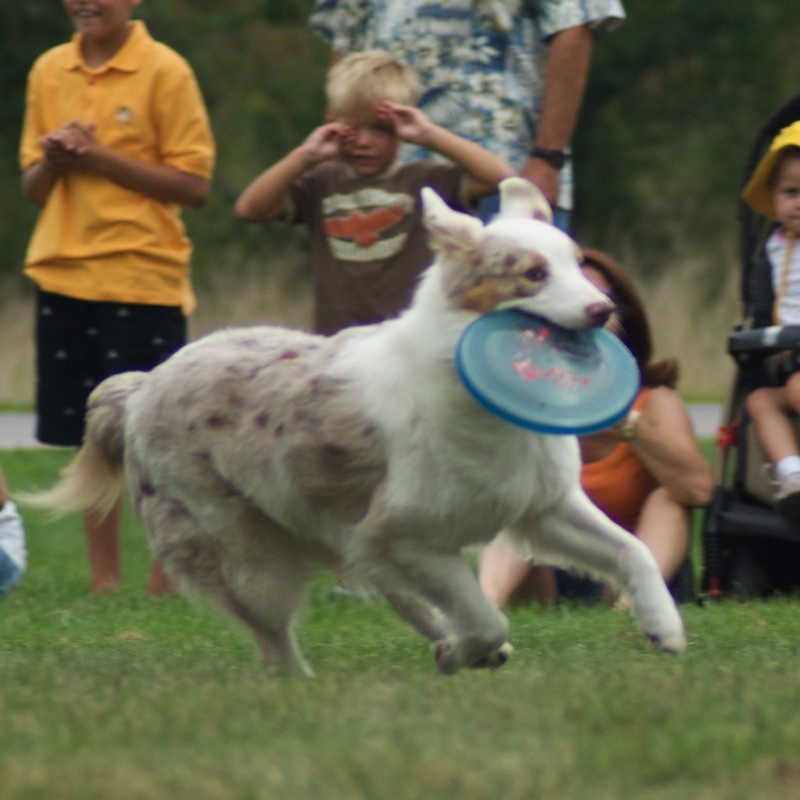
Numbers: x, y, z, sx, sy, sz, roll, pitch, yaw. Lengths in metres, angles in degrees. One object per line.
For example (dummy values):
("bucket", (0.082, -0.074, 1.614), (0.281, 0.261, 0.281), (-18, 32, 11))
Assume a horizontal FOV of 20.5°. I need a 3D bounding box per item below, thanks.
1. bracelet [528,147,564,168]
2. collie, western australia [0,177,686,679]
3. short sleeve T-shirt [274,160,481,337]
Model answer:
("bracelet", (0.477, -0.801, 7.299), (0.092, 0.030, 0.087), (8, 8, -44))
("collie, western australia", (-0.124, 0.178, 6.737), (2.431, 1.373, 0.960), (0, 4, 38))
("short sleeve T-shirt", (-0.130, -0.528, 7.311), (0.500, 0.612, 0.239), (10, 23, 27))
